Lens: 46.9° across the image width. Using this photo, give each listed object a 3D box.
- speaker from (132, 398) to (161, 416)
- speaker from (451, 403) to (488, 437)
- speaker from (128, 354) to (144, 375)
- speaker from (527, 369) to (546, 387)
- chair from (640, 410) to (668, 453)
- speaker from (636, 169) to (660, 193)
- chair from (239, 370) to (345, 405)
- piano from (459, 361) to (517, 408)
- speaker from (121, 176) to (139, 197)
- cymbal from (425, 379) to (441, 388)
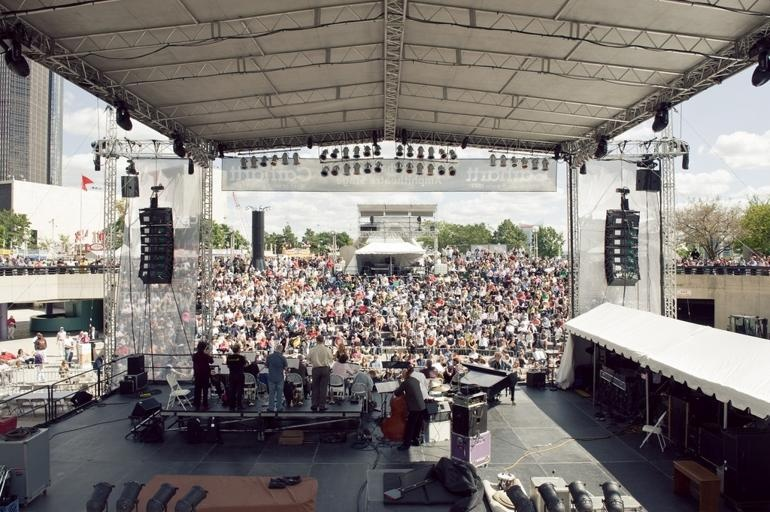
[{"bbox_3d":[-7.739,4.897,28.776,0.578,0.468,0.648,2,-4,11],"label":"speaker"},{"bbox_3d":[2.547,4.934,27.159,1.121,0.907,1.220,-1,3,-1],"label":"speaker"},{"bbox_3d":[-9.045,3.897,32.080,0.606,0.705,0.489,-1,-1,-18],"label":"speaker"},{"bbox_3d":[5.509,4.455,32.455,0.578,0.610,0.584,-5,6,-32],"label":"speaker"},{"bbox_3d":[8.515,5.602,28.094,0.663,1.238,0.825,12,-16,-32],"label":"chair"},{"bbox_3d":[9.899,-2.894,33.537,0.766,0.840,0.805,-1,0,3],"label":"speaker"},{"bbox_3d":[-2.995,4.211,28.505,2.900,1.060,1.259,-1,-1,13],"label":"chair"},{"bbox_3d":[3.532,4.271,30.622,1.538,0.966,1.448,3,9,45],"label":"piano"},{"bbox_3d":[-9.581,-2.639,33.253,0.659,1.000,0.736,-1,3,-11],"label":"speaker"},{"bbox_3d":[1.633,4.285,30.061,0.304,0.147,0.225,-6,6,-39],"label":"cymbal"}]
